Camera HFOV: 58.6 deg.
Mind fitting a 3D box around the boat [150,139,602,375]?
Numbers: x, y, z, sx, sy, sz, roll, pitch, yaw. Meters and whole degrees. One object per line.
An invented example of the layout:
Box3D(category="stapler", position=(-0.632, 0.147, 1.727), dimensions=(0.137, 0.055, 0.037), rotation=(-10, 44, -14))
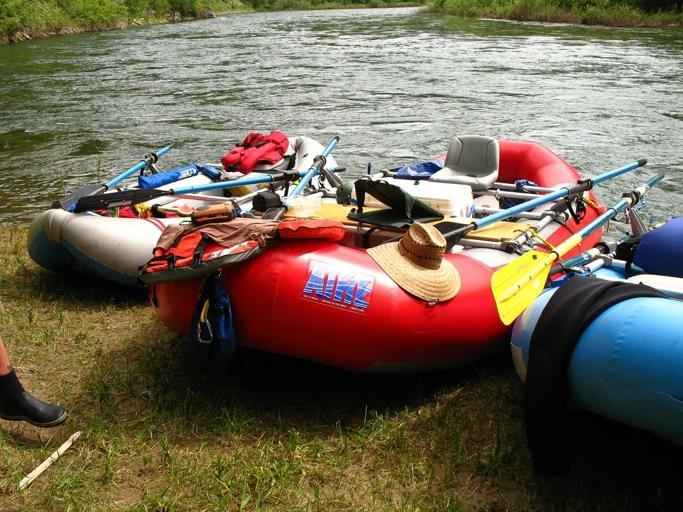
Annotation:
Box3D(category="boat", position=(0.638, -0.045, 4.603), dimensions=(3.125, 0.718, 2.034), rotation=(-13, 23, -41))

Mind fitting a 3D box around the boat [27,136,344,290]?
Box3D(category="boat", position=(-1.318, -0.540, 6.168), dimensions=(1.760, 0.533, 2.947), rotation=(14, 21, 34))

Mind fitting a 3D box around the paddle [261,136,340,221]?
Box3D(category="paddle", position=(-0.299, -0.855, 6.264), dimensions=(0.113, 0.974, 0.127), rotation=(51, 27, 19))

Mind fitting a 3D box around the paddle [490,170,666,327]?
Box3D(category="paddle", position=(2.248, -0.269, 5.327), dimensions=(0.318, 0.264, 3.782), rotation=(34, 38, 28))

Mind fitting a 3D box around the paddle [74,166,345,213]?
Box3D(category="paddle", position=(-1.274, -0.555, 5.574), dimensions=(2.048, 0.121, 0.557), rotation=(-9, 9, -31))
